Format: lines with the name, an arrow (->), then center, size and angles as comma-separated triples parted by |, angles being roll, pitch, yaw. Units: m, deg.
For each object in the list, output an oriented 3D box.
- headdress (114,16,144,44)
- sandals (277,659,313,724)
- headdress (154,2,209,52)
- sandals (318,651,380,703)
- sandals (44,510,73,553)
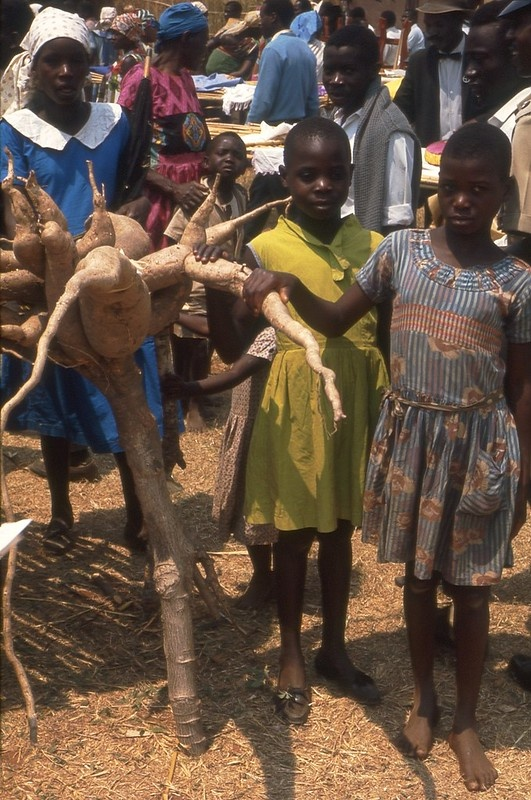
headdress -> -1.302, -3.449, 7.134 | 0.329, 0.252, 0.220 | -8, 51, -14
sandals -> 0.075, 0.889, 2.326 | 0.075, 0.054, 0.185 | 0, 30, 4
headdress -> -0.503, -2.316, 4.719 | 0.327, 0.228, 0.233 | -13, 30, -28
sandals -> 0.269, 0.887, 2.504 | 0.085, 0.083, 0.242 | -22, 28, -39
sandals -> -0.916, 0.586, 3.374 | 0.138, 0.146, 0.408 | 1, -10, -11
